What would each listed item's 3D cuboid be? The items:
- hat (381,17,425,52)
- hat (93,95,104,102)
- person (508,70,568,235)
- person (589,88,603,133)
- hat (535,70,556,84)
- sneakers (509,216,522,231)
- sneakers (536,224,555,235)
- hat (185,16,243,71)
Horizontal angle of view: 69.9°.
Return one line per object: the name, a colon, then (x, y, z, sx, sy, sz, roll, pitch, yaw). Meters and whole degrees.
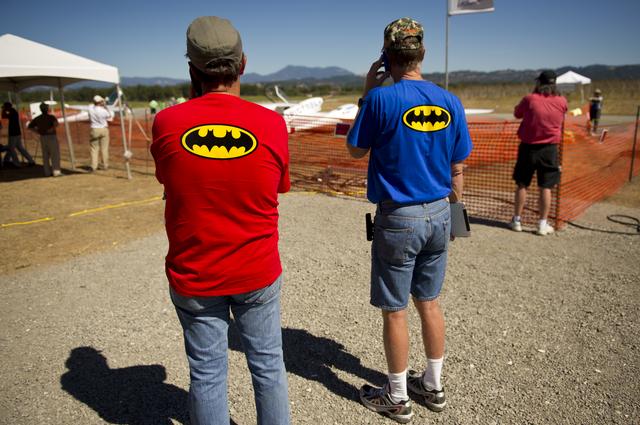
hat: (0.780, -1.770, 4.449, 0.310, 0.289, 0.522, -11, 31, -12)
hat: (-5.981, -3.067, 12.294, 0.162, 0.139, 0.270, -5, 48, 2)
person: (3.484, -0.921, 7.365, 0.734, 2.605, 0.351, 6, 18, 28)
person: (10.727, -4.009, 17.828, 0.391, 1.494, 3.406, 7, 19, 29)
hat: (3.474, -2.062, 6.992, 0.176, 0.142, 0.258, -5, 27, 3)
sneakers: (3.330, 0.193, 7.774, 0.119, 0.218, 0.305, -3, 15, -3)
sneakers: (3.741, 0.280, 7.642, 0.306, 0.160, 0.138, -11, 21, -24)
hat: (-0.897, -1.449, 3.883, 0.468, 0.217, 0.644, -20, 47, -23)
